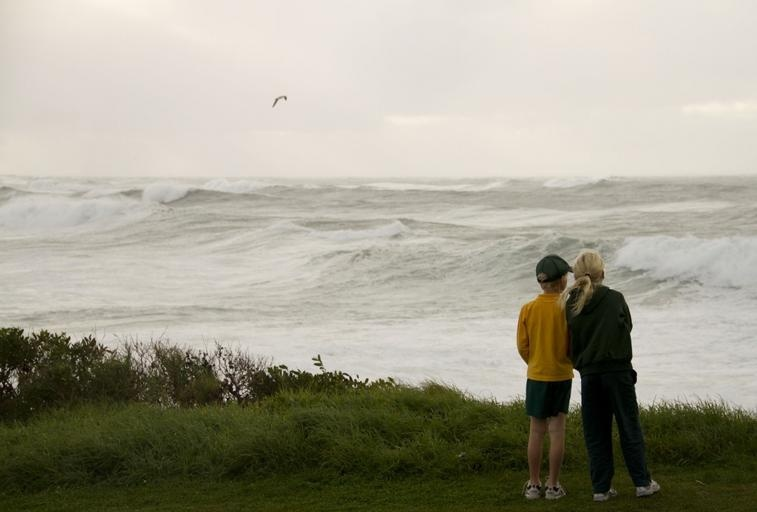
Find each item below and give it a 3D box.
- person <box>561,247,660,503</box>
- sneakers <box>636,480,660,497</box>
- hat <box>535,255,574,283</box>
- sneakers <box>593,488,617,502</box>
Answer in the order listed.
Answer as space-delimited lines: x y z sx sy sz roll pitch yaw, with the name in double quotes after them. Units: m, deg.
3.592 1.930 17.350 1.428 3.935 0.608 3 10 8 "person"
4.340 3.712 17.517 0.459 0.196 0.172 -11 9 -41 "sneakers"
2.803 0.181 17.590 0.371 0.291 0.582 3 26 33 "hat"
3.606 3.838 17.411 0.419 0.168 0.160 -10 15 -35 "sneakers"
